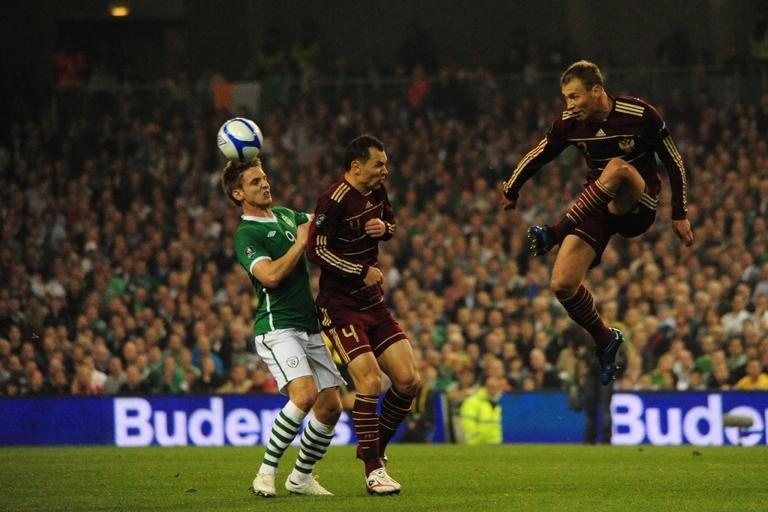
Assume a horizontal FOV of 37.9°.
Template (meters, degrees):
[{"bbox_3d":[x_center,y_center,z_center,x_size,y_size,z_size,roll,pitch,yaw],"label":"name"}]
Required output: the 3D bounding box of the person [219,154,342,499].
[{"bbox_3d":[-1.221,0.872,13.841,1.391,4.152,0.658,0,-5,-5],"label":"person"}]

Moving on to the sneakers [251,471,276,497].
[{"bbox_3d":[-1.446,2.797,13.570,0.341,0.245,0.182,1,-5,22],"label":"sneakers"}]

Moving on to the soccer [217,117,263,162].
[{"bbox_3d":[-1.849,-1.443,14.224,0.570,0.559,0.536,-14,20,-30],"label":"soccer"}]

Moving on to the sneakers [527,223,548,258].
[{"bbox_3d":[1.970,-0.166,14.164,0.220,0.459,0.169,-1,-10,-4],"label":"sneakers"}]

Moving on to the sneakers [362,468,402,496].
[{"bbox_3d":[-0.008,2.760,13.588,0.429,0.245,0.245,-8,-4,42],"label":"sneakers"}]

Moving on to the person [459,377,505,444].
[{"bbox_3d":[1.542,2.451,17.265,0.735,1.074,0.547,11,-12,-23],"label":"person"}]
